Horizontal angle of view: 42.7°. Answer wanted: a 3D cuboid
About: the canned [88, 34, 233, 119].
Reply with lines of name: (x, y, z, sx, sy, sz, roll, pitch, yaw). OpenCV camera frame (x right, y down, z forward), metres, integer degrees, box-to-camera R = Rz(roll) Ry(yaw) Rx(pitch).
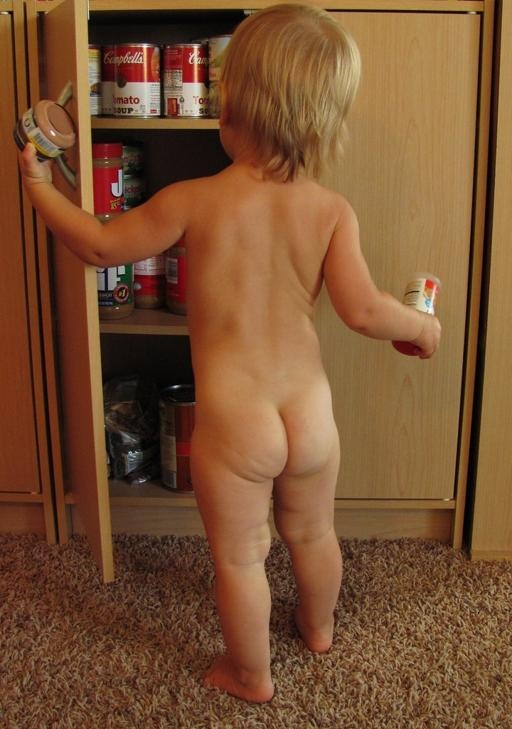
canned: (-0.165, -0.527, 1.213, 0.287, 0.180, 0.151, -1, 21, -4)

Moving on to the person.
person: (0.002, 0.006, 0.974, 0.608, 0.968, 0.250, -2, 12, -17)

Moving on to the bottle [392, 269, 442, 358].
bottle: (0.266, -0.089, 1.069, 0.066, 0.107, 0.070, 14, -6, 1)
